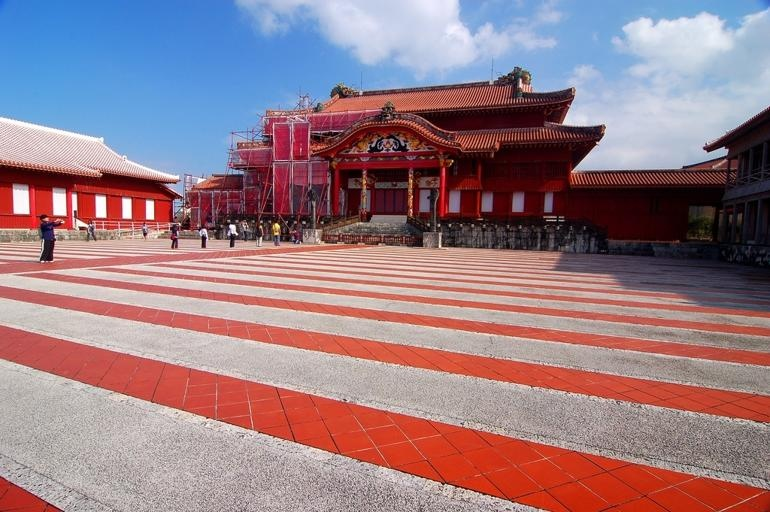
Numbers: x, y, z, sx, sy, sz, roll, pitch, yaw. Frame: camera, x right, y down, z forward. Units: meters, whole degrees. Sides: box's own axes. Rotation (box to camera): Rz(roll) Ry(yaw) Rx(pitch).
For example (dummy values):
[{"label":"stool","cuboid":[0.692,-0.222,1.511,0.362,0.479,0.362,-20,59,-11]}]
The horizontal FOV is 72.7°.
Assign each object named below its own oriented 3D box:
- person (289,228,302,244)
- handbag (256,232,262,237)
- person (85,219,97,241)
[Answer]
[{"label":"person","cuboid":[-4.791,-1.100,28.180,0.750,0.962,1.434,1,1,-27]},{"label":"handbag","cuboid":[-5.841,-1.058,24.310,0.126,0.227,0.146,13,41,3]},{"label":"person","cuboid":[-16.536,-1.491,29.506,0.386,1.127,1.384,-5,11,-33]}]
